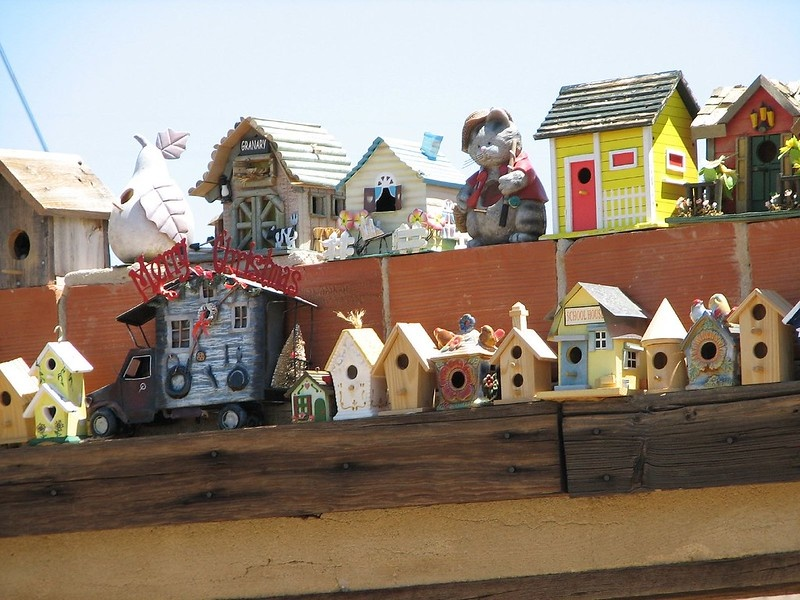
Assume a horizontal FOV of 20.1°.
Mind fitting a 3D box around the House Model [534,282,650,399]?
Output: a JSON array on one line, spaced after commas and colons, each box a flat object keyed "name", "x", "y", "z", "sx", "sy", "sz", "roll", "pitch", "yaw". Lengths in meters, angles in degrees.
[{"name": "House Model", "x": 1.143, "y": 0.251, "z": 13.074, "sx": 0.676, "sy": 0.639, "sz": 0.644, "roll": 0, "pitch": -3, "yaw": -26}]

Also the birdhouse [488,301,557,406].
[{"name": "birdhouse", "x": 0.714, "y": 0.341, "z": 13.133, "sx": 0.414, "sy": 0.524, "sz": 0.416, "roll": -3, "pitch": 0, "yaw": -25}]

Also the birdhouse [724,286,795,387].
[{"name": "birdhouse", "x": 2.002, "y": 0.231, "z": 12.609, "sx": 0.336, "sy": 0.533, "sz": 0.169, "roll": -2, "pitch": -8, "yaw": 7}]

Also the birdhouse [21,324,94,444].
[{"name": "birdhouse", "x": -2.190, "y": 0.629, "z": 14.268, "sx": 0.428, "sy": 0.594, "sz": 0.454, "roll": -2, "pitch": -2, "yaw": -44}]

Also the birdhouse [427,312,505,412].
[{"name": "birdhouse", "x": 0.387, "y": 0.416, "z": 13.252, "sx": 0.502, "sy": 0.542, "sz": 0.353, "roll": -8, "pitch": -17, "yaw": 33}]

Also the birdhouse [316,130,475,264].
[{"name": "birdhouse", "x": 0.061, "y": -0.693, "z": 15.214, "sx": 0.885, "sy": 0.719, "sz": 0.638, "roll": 0, "pitch": 4, "yaw": 45}]

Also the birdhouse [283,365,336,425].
[{"name": "birdhouse", "x": -0.514, "y": 0.610, "z": 13.646, "sx": 0.313, "sy": 0.309, "sz": 0.208, "roll": -2, "pitch": 6, "yaw": 36}]

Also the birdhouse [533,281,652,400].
[{"name": "birdhouse", "x": 1.176, "y": 0.251, "z": 13.075, "sx": 0.671, "sy": 0.633, "sz": 0.660, "roll": 2, "pitch": -4, "yaw": -27}]

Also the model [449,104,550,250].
[{"name": "model", "x": 0.618, "y": -0.739, "z": 14.085, "sx": 0.673, "sy": 0.874, "sz": 0.570, "roll": -4, "pitch": -7, "yaw": 39}]

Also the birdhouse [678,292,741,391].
[{"name": "birdhouse", "x": 1.799, "y": 0.263, "z": 12.845, "sx": 0.441, "sy": 0.504, "sz": 0.402, "roll": -5, "pitch": -3, "yaw": 17}]

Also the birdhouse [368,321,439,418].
[{"name": "birdhouse", "x": 0.083, "y": 0.442, "z": 13.406, "sx": 0.486, "sy": 0.505, "sz": 0.496, "roll": 3, "pitch": -5, "yaw": -30}]

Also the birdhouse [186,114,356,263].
[{"name": "birdhouse", "x": -0.826, "y": -0.676, "z": 15.658, "sx": 1.170, "sy": 1.052, "sz": 0.867, "roll": 0, "pitch": -1, "yaw": 39}]

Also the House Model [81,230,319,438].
[{"name": "House Model", "x": -1.498, "y": 0.320, "z": 14.316, "sx": 1.611, "sy": 1.188, "sz": 0.561, "roll": -3, "pitch": -1, "yaw": -35}]

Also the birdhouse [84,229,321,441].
[{"name": "birdhouse", "x": -1.267, "y": 0.311, "z": 14.188, "sx": 1.331, "sy": 1.015, "sz": 0.557, "roll": -5, "pitch": -12, "yaw": 22}]

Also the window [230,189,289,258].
[{"name": "window", "x": -0.991, "y": -0.498, "z": 15.455, "sx": 0.518, "sy": 0.462, "sz": 0.057, "roll": 0, "pitch": 1, "yaw": 45}]
